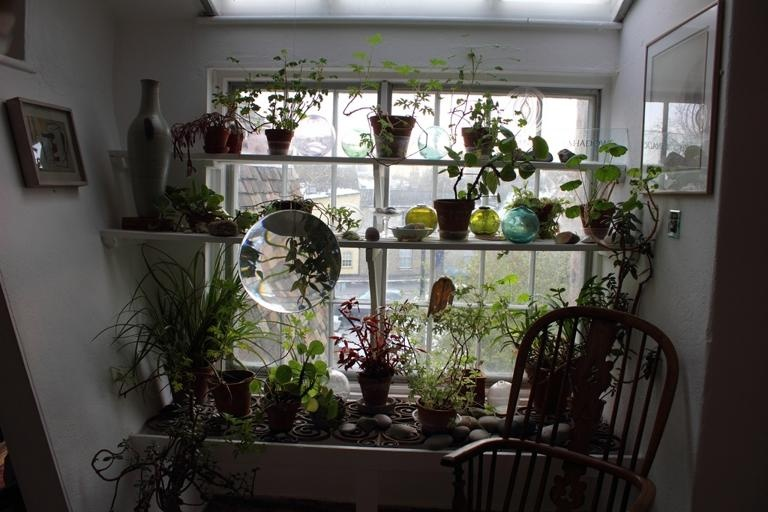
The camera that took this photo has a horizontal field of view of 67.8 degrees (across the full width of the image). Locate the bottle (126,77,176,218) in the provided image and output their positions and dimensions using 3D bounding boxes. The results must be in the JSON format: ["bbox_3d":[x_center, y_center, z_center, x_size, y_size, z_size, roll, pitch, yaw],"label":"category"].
[{"bbox_3d":[-1.235,-0.566,3.039,0.221,0.718,0.148,-1,8,-22],"label":"bottle"}]

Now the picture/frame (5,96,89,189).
[{"bbox_3d":[-1.571,-0.523,2.656,0.078,0.474,0.433,-10,-12,19],"label":"picture/frame"}]
